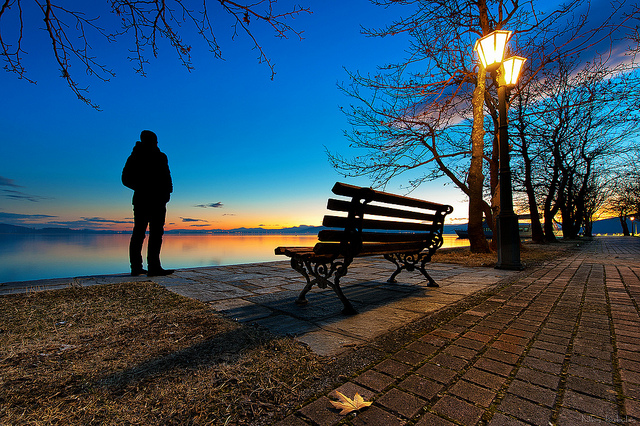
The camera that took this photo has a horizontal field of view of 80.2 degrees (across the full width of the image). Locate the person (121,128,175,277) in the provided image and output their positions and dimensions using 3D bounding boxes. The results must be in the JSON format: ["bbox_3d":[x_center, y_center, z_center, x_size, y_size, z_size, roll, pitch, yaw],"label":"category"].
[{"bbox_3d":[-3.404,-0.195,7.473,0.787,2.840,0.890,-3,-6,13],"label":"person"}]
